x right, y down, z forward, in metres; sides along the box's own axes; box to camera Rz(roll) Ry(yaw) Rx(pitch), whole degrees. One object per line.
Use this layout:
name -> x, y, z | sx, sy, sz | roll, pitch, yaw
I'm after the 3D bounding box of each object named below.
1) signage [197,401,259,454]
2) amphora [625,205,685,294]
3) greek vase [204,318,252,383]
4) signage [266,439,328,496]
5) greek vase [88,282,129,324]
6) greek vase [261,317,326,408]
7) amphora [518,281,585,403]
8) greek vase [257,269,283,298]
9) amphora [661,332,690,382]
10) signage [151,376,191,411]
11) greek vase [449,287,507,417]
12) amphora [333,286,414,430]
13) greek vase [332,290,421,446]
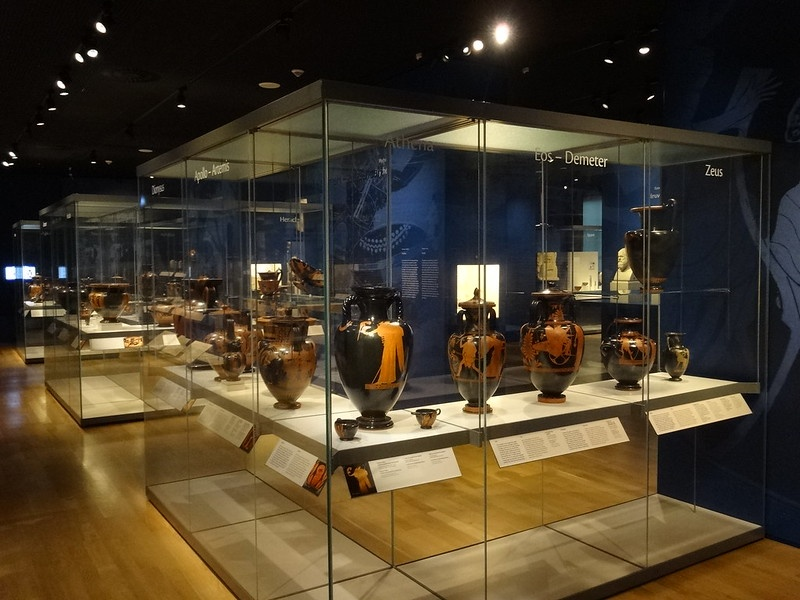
signage -> -0.968, 0.704, 3.523 | 0.320, 0.229, 0.073 | 26, 21, 30
amphora -> 1.565, -0.336, 3.846 | 0.318, 0.569, 0.310 | -5, 9, -44
greek vase -> -0.980, 0.323, 3.568 | 0.206, 0.313, 0.217 | 11, 7, 25
signage -> -0.476, 0.784, 2.929 | 0.404, 0.172, 0.158 | 23, 10, 41
greek vase -> -3.124, 0.035, 6.687 | 0.399, 0.446, 0.399 | 5, 9, 13
greek vase -> -0.577, 0.321, 3.199 | 0.297, 0.458, 0.291 | 11, 13, 40
amphora -> 0.883, 0.268, 3.578 | 0.349, 0.584, 0.354 | 0, 2, 3
greek vase -> -0.651, -0.078, 3.116 | 0.123, 0.116, 0.130 | 0, 5, -16
amphora -> 1.871, 0.370, 4.165 | 0.107, 0.317, 0.293 | 4, 8, 44
signage -> -1.501, 0.618, 4.121 | 0.080, 0.098, 0.279 | -21, 18, -33
greek vase -> 0.402, 0.269, 3.222 | 0.294, 0.660, 0.180 | -1, 5, 3
amphora -> -0.128, 0.292, 3.017 | 0.410, 0.700, 0.156 | -5, 7, -38
greek vase -> -0.128, 0.284, 3.126 | 0.485, 0.667, 0.498 | -1, -2, -1
